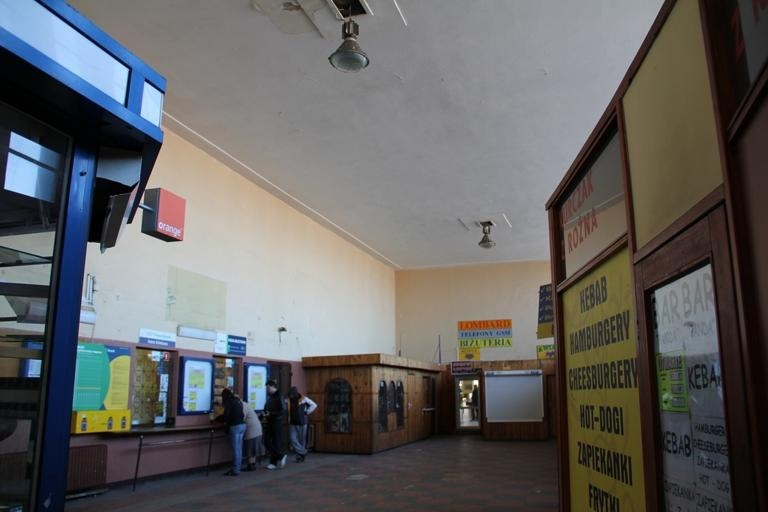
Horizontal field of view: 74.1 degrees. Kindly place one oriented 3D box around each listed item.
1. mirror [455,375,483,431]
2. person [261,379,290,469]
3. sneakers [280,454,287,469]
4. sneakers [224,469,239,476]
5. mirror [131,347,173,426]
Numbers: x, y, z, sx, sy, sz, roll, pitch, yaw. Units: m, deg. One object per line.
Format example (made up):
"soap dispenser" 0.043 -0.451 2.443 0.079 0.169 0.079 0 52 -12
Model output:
"mirror" 2.916 5.149 17.826 0.830 1.740 0.422 -1 -12 1
"person" -2.216 3.390 10.307 0.451 1.660 0.785 3 -13 -13
"sneakers" -2.059 4.152 10.347 0.131 0.177 0.396 1 -1 3
"sneakers" -2.784 3.920 9.250 0.267 0.101 0.349 3 -14 -11
"mirror" -4.103 2.311 8.988 0.667 1.279 0.428 8 -15 -33
